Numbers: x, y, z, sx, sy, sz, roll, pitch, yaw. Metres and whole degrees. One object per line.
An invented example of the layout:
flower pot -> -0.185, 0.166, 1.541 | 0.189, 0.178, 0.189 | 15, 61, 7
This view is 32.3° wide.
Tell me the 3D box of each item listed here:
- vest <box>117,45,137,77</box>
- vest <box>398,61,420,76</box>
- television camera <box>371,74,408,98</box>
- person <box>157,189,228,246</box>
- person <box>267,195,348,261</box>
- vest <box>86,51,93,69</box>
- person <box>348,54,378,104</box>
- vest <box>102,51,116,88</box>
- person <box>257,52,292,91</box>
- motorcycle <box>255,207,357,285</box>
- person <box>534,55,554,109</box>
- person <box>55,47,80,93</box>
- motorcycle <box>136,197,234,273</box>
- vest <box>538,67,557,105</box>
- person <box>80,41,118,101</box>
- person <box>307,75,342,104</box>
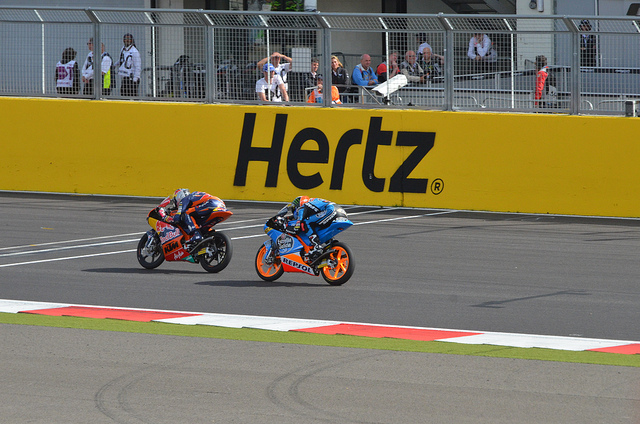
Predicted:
vest -> -3.814, -2.955, 21.678 | 0.422, 0.586, 0.135 | 4, 5, 34
vest -> 1.672, -2.682, 20.688 | 0.404, 0.258, 0.164 | 1, 4, 3
television camera -> 1.322, -2.382, 20.939 | 0.525, 0.137, 0.375 | -26, 6, 14
person -> -1.985, 0.035, 16.408 | 1.106, 0.849, 0.610 | -8, -3, 8
person -> -0.235, 0.273, 15.907 | 1.417, 0.963, 0.696 | -11, -7, 9
vest -> -4.601, -3.022, 21.941 | 0.096, 0.313, 0.167 | -1, 4, -19
person -> 0.866, -2.533, 21.372 | 0.569, 0.955, 0.515 | -6, 15, -38
vest -> -4.215, -2.715, 21.922 | 0.331, 0.497, 0.100 | 3, 5, 33
person -> -0.870, -2.735, 21.242 | 0.600, 0.980, 0.279 | -7, 42, 3
motorcycle -> -0.222, 0.463, 15.832 | 1.684, 1.116, 0.464 | 0, -6, 32
person -> 4.085, -2.346, 19.983 | 0.341, 0.960, 0.246 | 2, 4, 10
person -> -5.078, -2.812, 21.959 | 0.485, 0.877, 0.338 | 0, 4, -7
motorcycle -> -2.026, 0.330, 16.375 | 1.674, 1.077, 0.527 | 0, 0, 28
vest -> 4.165, -2.279, 20.027 | 0.323, 0.636, 0.150 | 1, 4, 0
person -> -4.393, -2.828, 21.911 | 0.544, 1.583, 0.680 | -6, 22, -33
person -> 0.034, -2.325, 21.278 | 0.706, 0.626, 0.376 | -5, -2, 15
